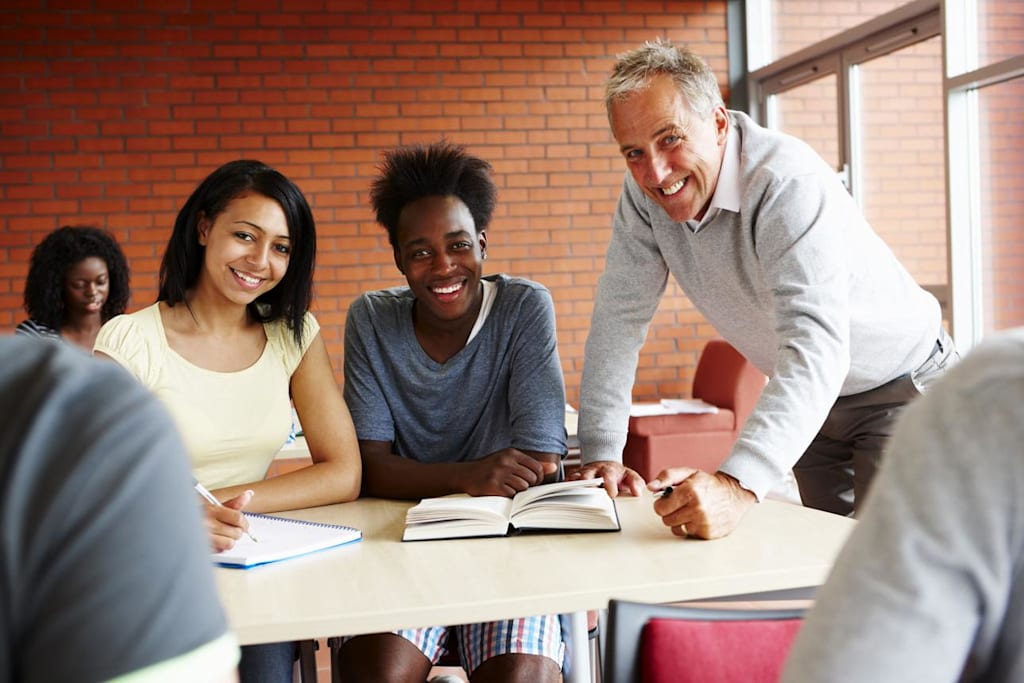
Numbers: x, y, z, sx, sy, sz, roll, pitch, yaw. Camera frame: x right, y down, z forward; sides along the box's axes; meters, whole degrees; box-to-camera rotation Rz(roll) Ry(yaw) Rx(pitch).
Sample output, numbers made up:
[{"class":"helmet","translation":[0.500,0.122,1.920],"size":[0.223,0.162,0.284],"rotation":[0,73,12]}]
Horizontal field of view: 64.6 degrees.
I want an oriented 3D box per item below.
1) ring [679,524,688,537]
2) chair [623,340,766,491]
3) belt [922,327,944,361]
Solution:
[{"class":"ring","translation":[0.310,0.343,1.475],"size":[0.009,0.021,0.017],"rotation":[-12,-23,23]},{"class":"chair","translation":[1.029,0.441,4.788],"size":[0.680,0.780,0.646],"rotation":[-3,5,-13]},{"class":"belt","translation":[1.079,0.005,2.093],"size":[0.049,0.064,0.060],"rotation":[16,39,28]}]
